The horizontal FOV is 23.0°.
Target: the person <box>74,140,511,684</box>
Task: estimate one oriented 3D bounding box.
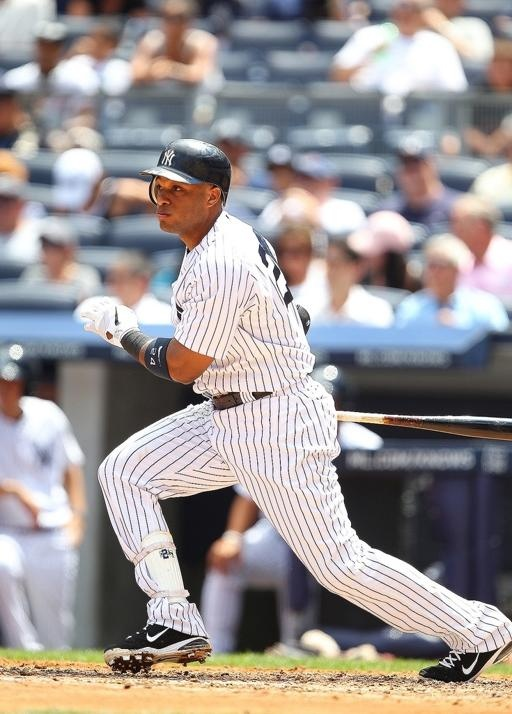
[{"bbox_3d":[-0.013,0.200,3.645,1.122,1.600,0.775,-11,25,-6],"label":"person"}]

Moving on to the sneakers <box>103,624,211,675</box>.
[{"bbox_3d":[-0.288,0.819,3.581,0.357,0.111,0.163,2,34,-5],"label":"sneakers"}]

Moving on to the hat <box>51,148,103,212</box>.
[{"bbox_3d":[-1.258,-1.221,8.724,0.380,0.449,0.380,10,8,-13],"label":"hat"}]

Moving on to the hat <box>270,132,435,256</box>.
[{"bbox_3d":[0.561,-0.955,8.045,1.089,0.844,1.166,0,7,21],"label":"hat"}]

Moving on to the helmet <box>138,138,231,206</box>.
[{"bbox_3d":[-0.175,-0.542,3.616,0.240,0.109,0.178,17,-5,-38],"label":"helmet"}]
